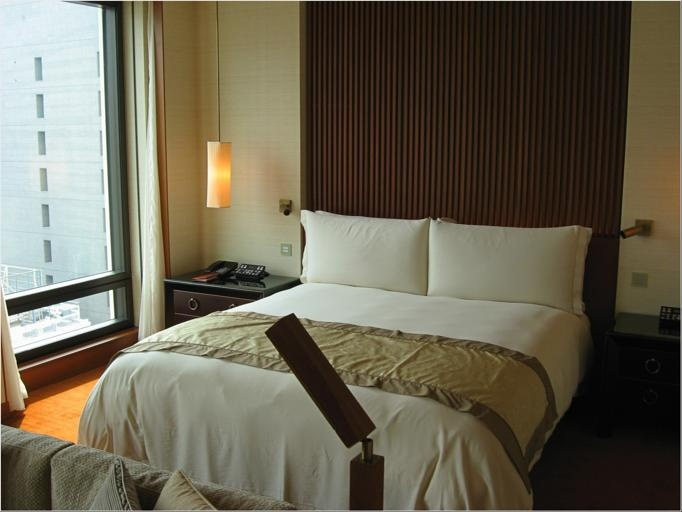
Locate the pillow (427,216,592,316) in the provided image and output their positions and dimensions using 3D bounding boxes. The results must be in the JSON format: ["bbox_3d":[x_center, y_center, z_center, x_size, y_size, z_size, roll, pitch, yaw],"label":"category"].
[{"bbox_3d":[1.113,0.053,3.575,1.053,0.601,0.212,6,2,30],"label":"pillow"}]

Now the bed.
[{"bbox_3d":[0.141,0.424,2.997,2.204,1.076,2.279,6,13,30],"label":"bed"}]

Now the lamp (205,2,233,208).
[{"bbox_3d":[-1.079,-1.321,4.440,0.214,1.748,0.502,-3,12,-8],"label":"lamp"}]

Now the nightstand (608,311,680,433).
[{"bbox_3d":[1.864,0.726,3.348,0.529,0.537,0.567,3,12,23],"label":"nightstand"}]
